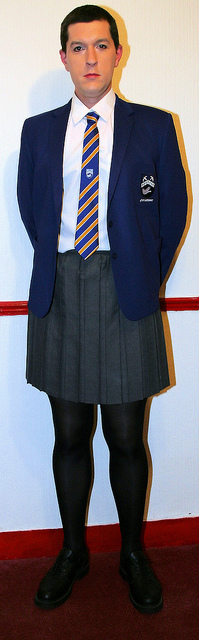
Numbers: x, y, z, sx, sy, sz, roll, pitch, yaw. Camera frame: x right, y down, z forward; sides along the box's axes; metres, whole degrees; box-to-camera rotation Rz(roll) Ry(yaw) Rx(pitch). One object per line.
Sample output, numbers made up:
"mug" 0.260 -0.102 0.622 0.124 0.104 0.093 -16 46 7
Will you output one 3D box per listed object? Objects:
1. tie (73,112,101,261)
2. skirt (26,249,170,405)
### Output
"tie" -0.030 -0.341 1.068 0.067 0.319 0.125 0 25 0
"skirt" -0.011 0.076 1.277 0.440 0.701 0.294 2 10 11
